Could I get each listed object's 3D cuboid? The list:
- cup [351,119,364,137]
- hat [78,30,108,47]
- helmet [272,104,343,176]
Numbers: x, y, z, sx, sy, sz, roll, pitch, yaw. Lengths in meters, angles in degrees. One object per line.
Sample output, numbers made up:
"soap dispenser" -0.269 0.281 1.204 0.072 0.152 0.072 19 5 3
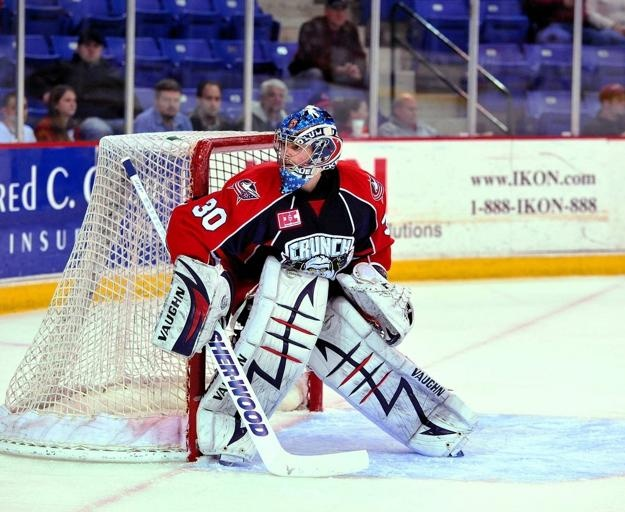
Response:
"cup" 0.343 -0.997 7.815 0.120 0.126 0.122 2 8 0
"hat" -1.576 -1.566 7.254 0.136 0.074 0.102 0 -8 7
"helmet" -0.014 -0.496 4.283 0.317 0.254 0.245 -2 4 -42
